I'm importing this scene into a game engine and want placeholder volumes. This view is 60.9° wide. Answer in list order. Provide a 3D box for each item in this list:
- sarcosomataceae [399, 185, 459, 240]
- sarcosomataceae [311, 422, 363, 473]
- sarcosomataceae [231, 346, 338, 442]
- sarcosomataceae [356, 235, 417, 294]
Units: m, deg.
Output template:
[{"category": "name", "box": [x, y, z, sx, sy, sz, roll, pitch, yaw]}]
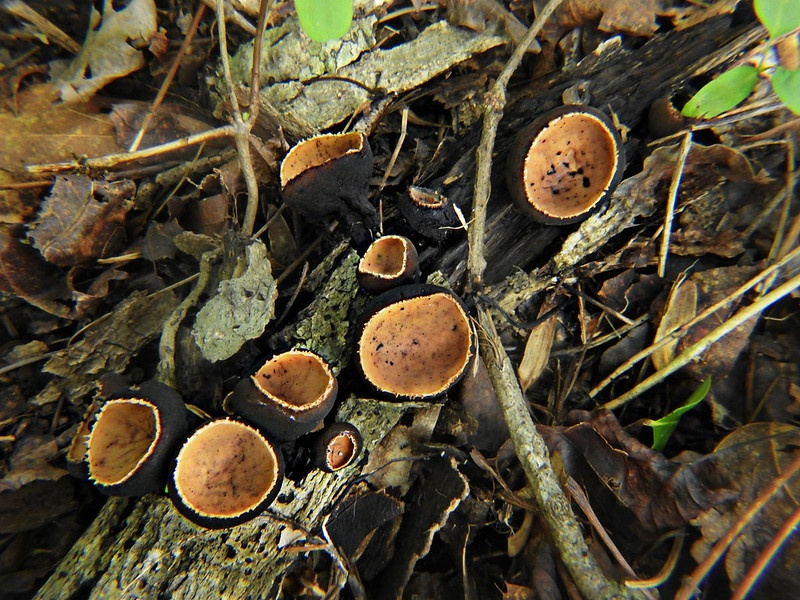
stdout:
[{"category": "sarcosomataceae", "box": [0.149, -0.543, 4.548, 0.364, 0.361, 0.151, 35, -31, -17]}, {"category": "sarcosomataceae", "box": [-0.401, 0.887, 4.317, 0.261, 0.301, 0.165, 58, -9, -18]}, {"category": "sarcosomataceae", "box": [-0.708, 0.672, 4.310, 0.518, 0.651, 0.297, 43, -31, 16]}, {"category": "sarcosomataceae", "box": [-0.076, -0.242, 4.383, 0.333, 0.403, 0.198, 3, -28, 12]}]
